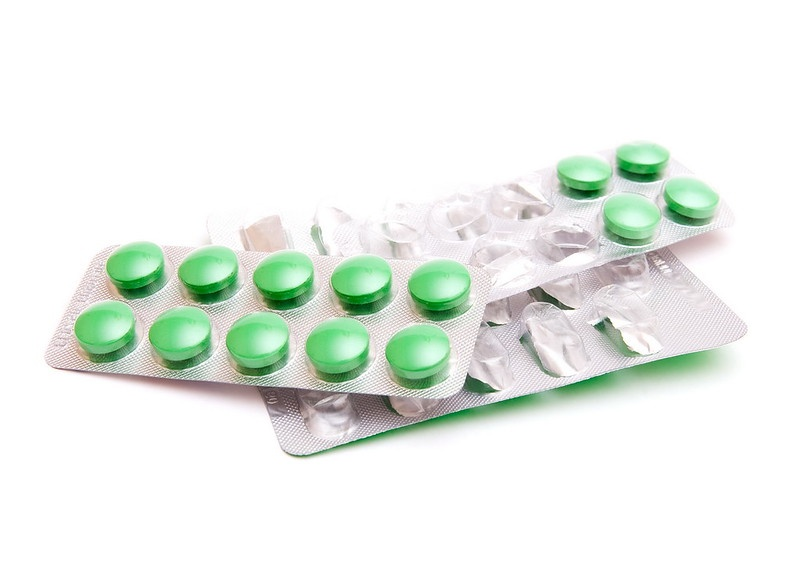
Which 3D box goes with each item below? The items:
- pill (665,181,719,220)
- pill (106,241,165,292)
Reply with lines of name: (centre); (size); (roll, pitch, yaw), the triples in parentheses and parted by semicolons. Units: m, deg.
pill: (1.259, -0.399, 3.108); (0.203, 0.183, 0.193); (-22, 18, -21)
pill: (-1.083, -0.106, 2.919); (0.251, 0.219, 0.062); (-4, 57, -25)
